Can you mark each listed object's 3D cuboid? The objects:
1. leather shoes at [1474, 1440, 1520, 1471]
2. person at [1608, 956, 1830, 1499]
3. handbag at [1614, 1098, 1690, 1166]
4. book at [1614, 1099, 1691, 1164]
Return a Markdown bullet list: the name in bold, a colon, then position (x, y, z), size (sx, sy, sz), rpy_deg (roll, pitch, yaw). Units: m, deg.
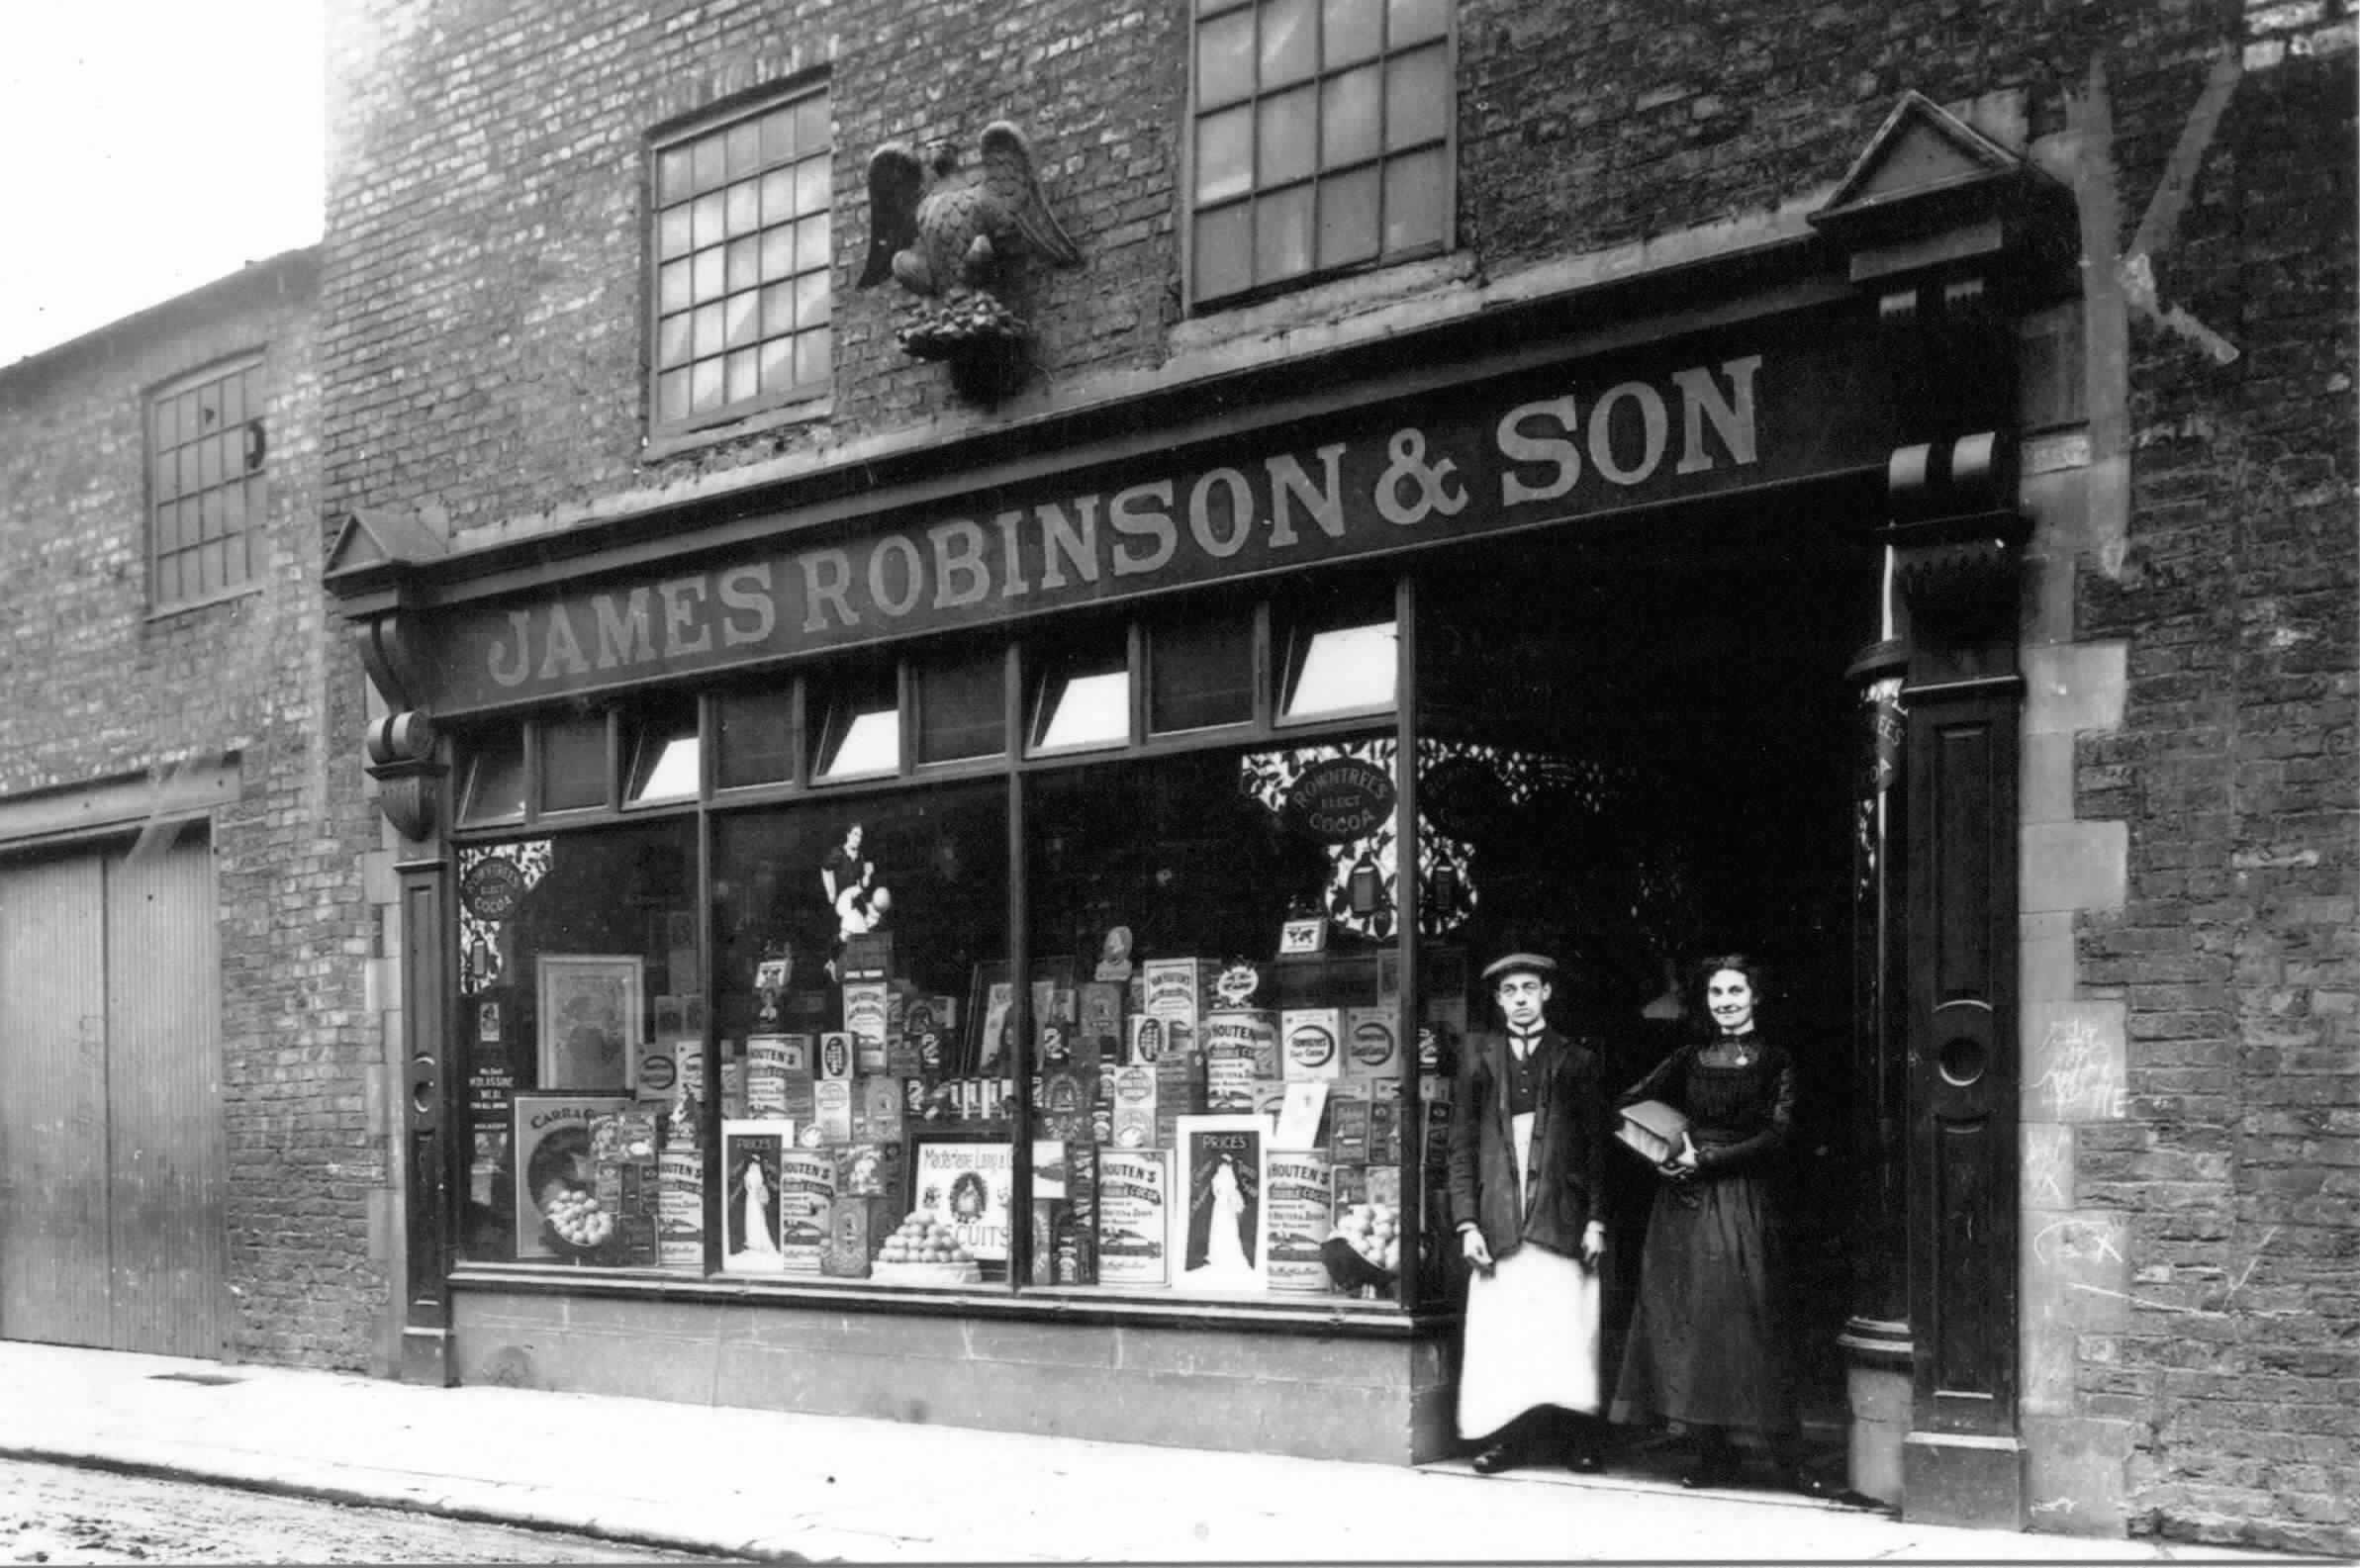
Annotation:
- **leather shoes**: position (1.640, 3.465, 14.322), size (0.258, 0.150, 0.122), rpy_deg (-3, 2, -20)
- **person**: position (2.706, 2.212, 14.172), size (0.921, 2.612, 0.614), rpy_deg (-2, 2, 11)
- **handbag**: position (2.412, 1.778, 14.178), size (0.380, 0.298, 0.186), rpy_deg (22, 11, 40)
- **book**: position (2.404, 1.768, 14.180), size (0.371, 0.291, 0.180), rpy_deg (23, 11, 39)
